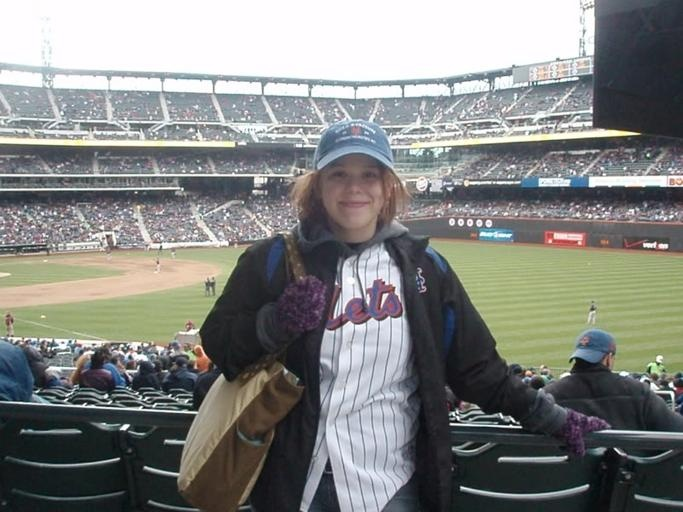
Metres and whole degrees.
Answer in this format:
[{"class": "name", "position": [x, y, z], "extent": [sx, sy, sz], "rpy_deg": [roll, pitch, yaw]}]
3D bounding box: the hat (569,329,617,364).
[{"class": "hat", "position": [2.098, 0.748, 5.326], "extent": [0.251, 0.203, 0.386], "rpy_deg": [-4, -8, 42]}]

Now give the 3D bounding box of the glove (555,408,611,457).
[{"class": "glove", "position": [1.295, 0.955, 3.423], "extent": [0.311, 0.293, 0.165], "rpy_deg": [-7, 5, -43]}]
